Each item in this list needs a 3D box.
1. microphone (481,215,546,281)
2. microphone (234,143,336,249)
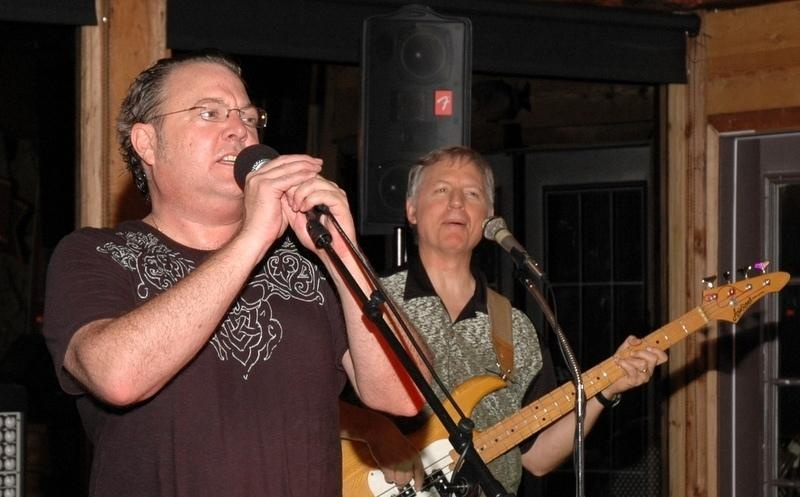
[{"bbox_3d":[0.518,-0.006,3.817,0.126,0.171,0.504,24,9,-24],"label":"microphone"},{"bbox_3d":[-0.467,-0.235,3.334,0.228,0.191,0.644,13,26,-35],"label":"microphone"}]
